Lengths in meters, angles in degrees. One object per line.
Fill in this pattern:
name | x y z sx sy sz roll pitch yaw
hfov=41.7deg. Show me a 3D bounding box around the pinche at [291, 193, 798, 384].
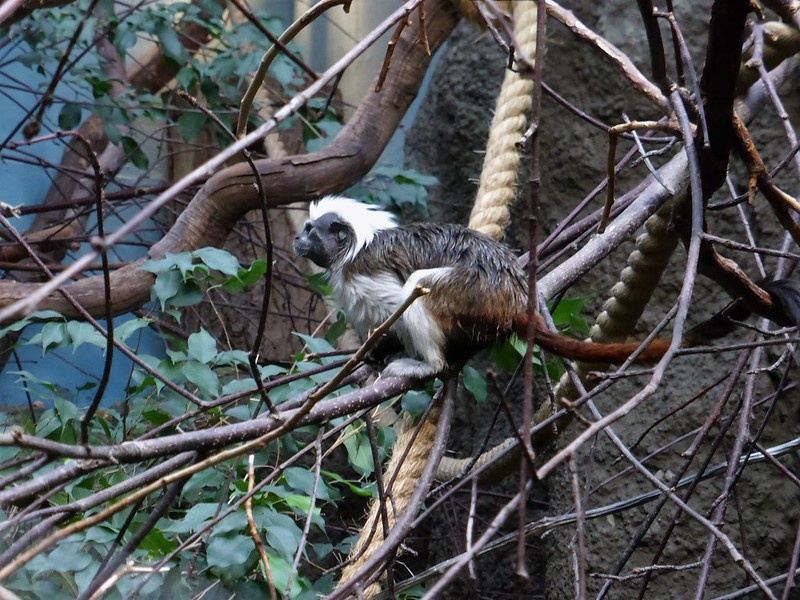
pinche | 0.685 -0.048 3.677 2.043 0.592 0.811 -3 -88 17
